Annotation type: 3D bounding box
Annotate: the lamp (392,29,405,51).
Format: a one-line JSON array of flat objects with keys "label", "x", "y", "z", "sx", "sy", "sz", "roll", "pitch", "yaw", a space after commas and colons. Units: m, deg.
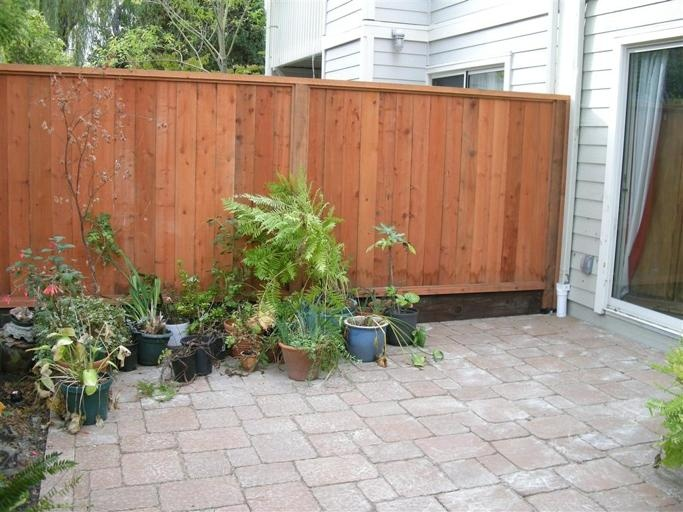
[{"label": "lamp", "x": 0.903, "y": -3.459, "z": 8.138, "sx": 0.259, "sy": 0.318, "sz": 0.122, "roll": -2, "pitch": 12, "yaw": -16}]
